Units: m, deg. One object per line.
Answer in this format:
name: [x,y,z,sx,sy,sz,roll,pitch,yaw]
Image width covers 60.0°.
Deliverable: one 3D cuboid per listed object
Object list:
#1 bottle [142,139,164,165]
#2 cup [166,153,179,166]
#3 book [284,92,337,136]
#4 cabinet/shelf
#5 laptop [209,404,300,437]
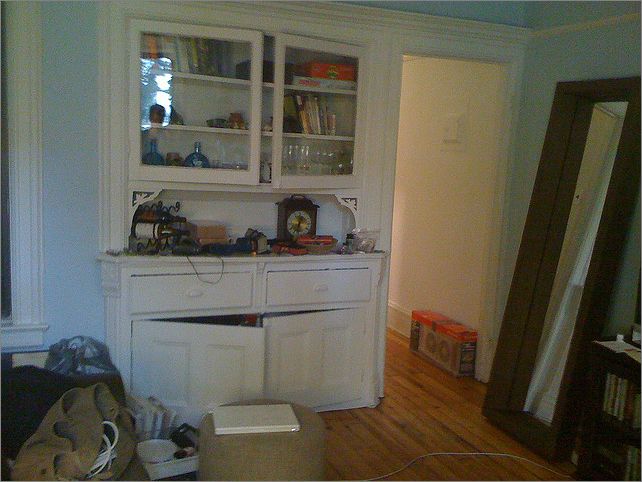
bottle: [-1.003,-0.529,3.306,0.124,0.155,0.038,-2,16,-9]
cup: [-0.894,-0.494,3.337,0.085,0.068,0.041,1,15,-4]
book: [-0.080,-0.797,3.645,0.391,0.318,0.256,-9,19,-32]
cabinet/shelf: [-0.454,-0.092,3.548,1.827,2.576,0.785,-7,17,-26]
laptop: [-0.327,0.869,2.727,0.406,0.044,0.277,-2,12,-12]
